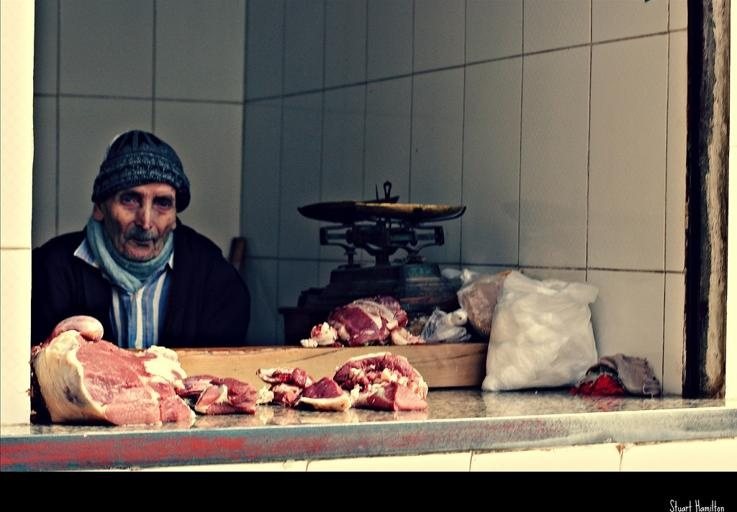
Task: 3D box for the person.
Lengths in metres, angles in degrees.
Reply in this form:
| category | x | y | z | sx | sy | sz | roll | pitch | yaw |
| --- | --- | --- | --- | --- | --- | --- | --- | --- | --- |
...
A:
| category | x | y | z | sx | sy | sz | roll | pitch | yaw |
| --- | --- | --- | --- | --- | --- | --- | --- | --- | --- |
| person | -1.285 | -0.047 | 5.953 | 1.145 | 1.375 | 0.675 | 1 | 12 | -23 |

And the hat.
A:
| category | x | y | z | sx | sy | sz | roll | pitch | yaw |
| --- | --- | --- | --- | --- | --- | --- | --- | --- | --- |
| hat | -1.230 | -0.474 | 6.062 | 0.508 | 0.450 | 0.528 | -11 | -11 | 39 |
